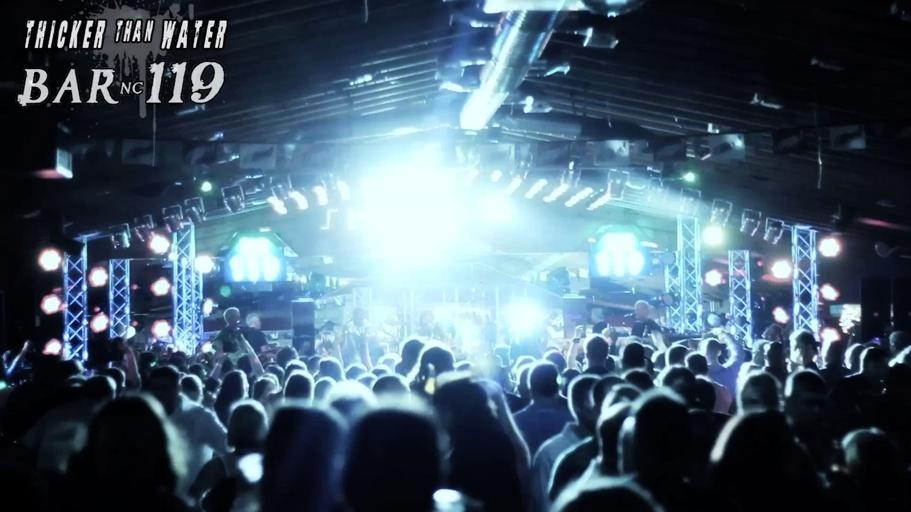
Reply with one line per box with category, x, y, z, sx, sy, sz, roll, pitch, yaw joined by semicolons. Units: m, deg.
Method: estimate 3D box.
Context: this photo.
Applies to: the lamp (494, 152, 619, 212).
lamp;2.457;-1.949;20.670;1.705;0.338;1.536;14;-12;-36
